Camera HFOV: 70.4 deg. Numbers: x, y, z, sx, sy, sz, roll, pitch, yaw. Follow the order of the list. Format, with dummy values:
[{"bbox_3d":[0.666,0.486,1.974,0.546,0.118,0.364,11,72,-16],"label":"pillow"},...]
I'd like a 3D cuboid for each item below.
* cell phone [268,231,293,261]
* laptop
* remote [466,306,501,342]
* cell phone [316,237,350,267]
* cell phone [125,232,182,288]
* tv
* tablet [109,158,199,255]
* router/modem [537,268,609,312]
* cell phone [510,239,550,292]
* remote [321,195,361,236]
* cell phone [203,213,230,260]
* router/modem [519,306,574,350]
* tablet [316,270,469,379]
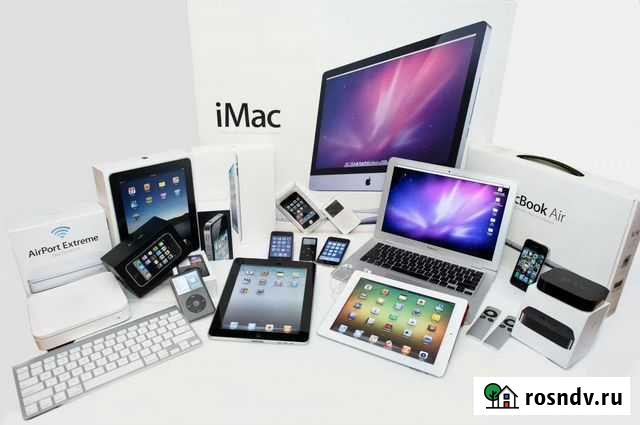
[{"bbox_3d":[-0.183,0.166,2.152,0.128,0.019,0.185,5,50,-2],"label":"cell phone"},{"bbox_3d":[0.459,0.066,1.932,0.661,0.368,0.595,11,25,20],"label":"laptop"},{"bbox_3d":[0.665,0.436,1.829,0.069,0.189,0.009,18,43,8],"label":"remote"},{"bbox_3d":[0.065,0.186,2.149,0.112,0.018,0.195,8,38,18],"label":"cell phone"},{"bbox_3d":[-0.693,0.206,1.900,0.247,0.136,0.052,-43,14,-25],"label":"cell phone"},{"bbox_3d":[0.345,-0.388,2.381,0.318,0.980,0.992,2,1,-44],"label":"tv"},{"bbox_3d":[-0.729,-0.027,1.957,0.370,0.461,0.045,-11,15,-29],"label":"tablet"},{"bbox_3d":[0.941,0.290,1.705,0.225,0.100,0.110,19,19,33],"label":"router/modem"},{"bbox_3d":[0.902,0.232,1.937,0.151,0.280,0.030,23,1,43],"label":"cell phone"},{"bbox_3d":[0.112,-0.008,2.360,0.179,0.186,0.175,17,24,40],"label":"remote"},{"bbox_3d":[-0.462,0.119,2.069,0.063,0.209,0.120,19,20,34],"label":"cell phone"},{"bbox_3d":[0.853,0.433,1.704,0.190,0.099,0.018,19,20,34],"label":"router/modem"},{"bbox_3d":[0.292,0.414,1.786,0.496,0.006,0.393,15,41,27],"label":"tablet"}]
